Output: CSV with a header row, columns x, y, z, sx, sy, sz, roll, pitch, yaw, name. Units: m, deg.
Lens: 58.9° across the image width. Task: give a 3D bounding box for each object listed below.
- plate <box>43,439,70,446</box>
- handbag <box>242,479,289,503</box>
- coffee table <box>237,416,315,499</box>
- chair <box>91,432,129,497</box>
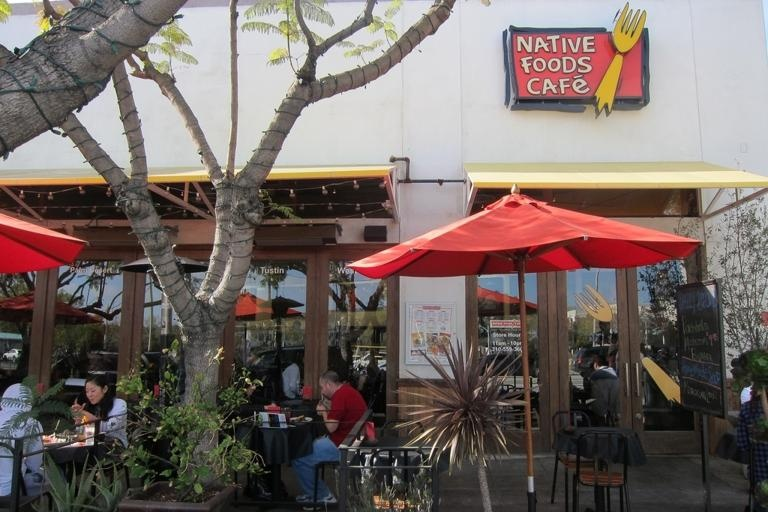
x,y,z,sx,sy,sz,roll,pitch,yaw,name
-4.084,2.352,8.539,0.187,0.047,0.195,3,-6,-1,plate
-1.630,3.354,9.588,0.357,0.431,0.499,8,-14,-35,handbag
-1.412,2.823,9.473,1.185,1.120,1.218,3,-8,-17,coffee table
-3.327,2.552,8.262,0.566,0.867,0.281,2,6,31,chair
